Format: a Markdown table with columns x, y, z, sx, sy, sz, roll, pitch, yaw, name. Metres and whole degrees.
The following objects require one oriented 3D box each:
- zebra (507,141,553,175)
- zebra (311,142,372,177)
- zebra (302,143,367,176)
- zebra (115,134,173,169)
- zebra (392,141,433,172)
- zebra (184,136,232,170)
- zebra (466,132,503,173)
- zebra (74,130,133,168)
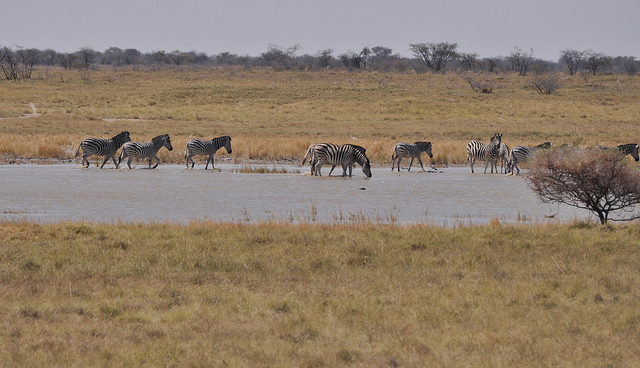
| x | y | z | sx | sy | sz | roll | pitch | yaw | name |
| --- | --- | --- | --- | --- | --- | --- | --- | --- | --- |
| 15.630 | -1.884 | 69.026 | 4.220 | 2.339 | 0.996 | -4 | -3 | -12 | zebra |
| 1.546 | -1.600 | 67.899 | 4.611 | 2.461 | 1.185 | 3 | -2 | -6 | zebra |
| 1.372 | -1.776 | 67.963 | 4.578 | 2.513 | 1.119 | 5 | -2 | -22 | zebra |
| -12.927 | -2.344 | 69.685 | 4.123 | 2.564 | 1.057 | -2 | 6 | -24 | zebra |
| 6.935 | -2.066 | 70.226 | 3.490 | 2.181 | 0.963 | -1 | 3 | -24 | zebra |
| -8.379 | -2.355 | 70.506 | 3.794 | 2.430 | 0.995 | -1 | 7 | -21 | zebra |
| 12.473 | -2.292 | 70.369 | 1.470 | 2.933 | 4.291 | -14 | 10 | -30 | zebra |
| -16.083 | -2.561 | 69.924 | 4.274 | 2.745 | 1.243 | -2 | 10 | -29 | zebra |
